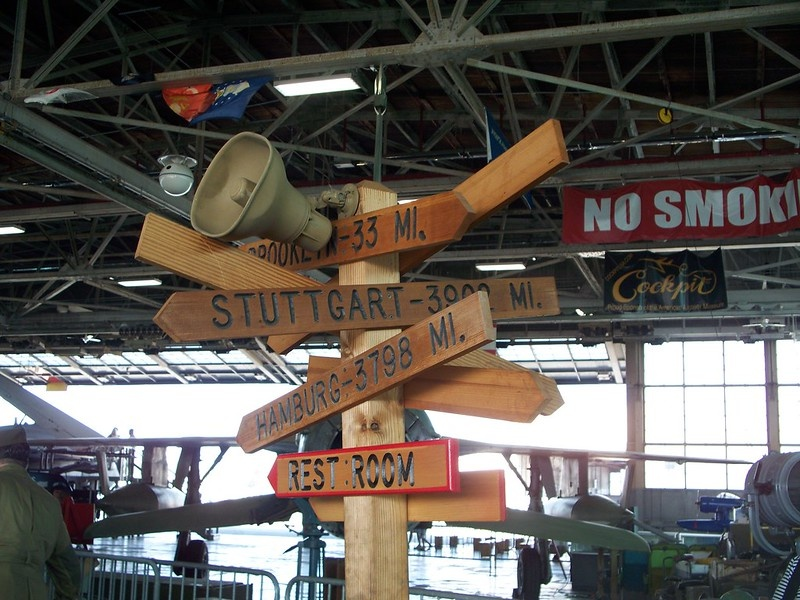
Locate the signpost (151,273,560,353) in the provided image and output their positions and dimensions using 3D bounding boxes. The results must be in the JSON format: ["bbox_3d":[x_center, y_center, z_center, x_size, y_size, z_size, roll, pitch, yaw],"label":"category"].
[{"bbox_3d":[-1.313,0.128,19.938,6.370,0.718,0.857,-2,2,-36],"label":"signpost"}]

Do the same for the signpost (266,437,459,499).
[{"bbox_3d":[-0.701,2.804,19.544,3.886,0.840,0.403,-10,-14,37],"label":"signpost"}]

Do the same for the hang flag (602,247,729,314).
[{"bbox_3d":[7.308,-0.497,32.703,3.953,1.771,0.048,-2,5,-23],"label":"hang flag"}]
